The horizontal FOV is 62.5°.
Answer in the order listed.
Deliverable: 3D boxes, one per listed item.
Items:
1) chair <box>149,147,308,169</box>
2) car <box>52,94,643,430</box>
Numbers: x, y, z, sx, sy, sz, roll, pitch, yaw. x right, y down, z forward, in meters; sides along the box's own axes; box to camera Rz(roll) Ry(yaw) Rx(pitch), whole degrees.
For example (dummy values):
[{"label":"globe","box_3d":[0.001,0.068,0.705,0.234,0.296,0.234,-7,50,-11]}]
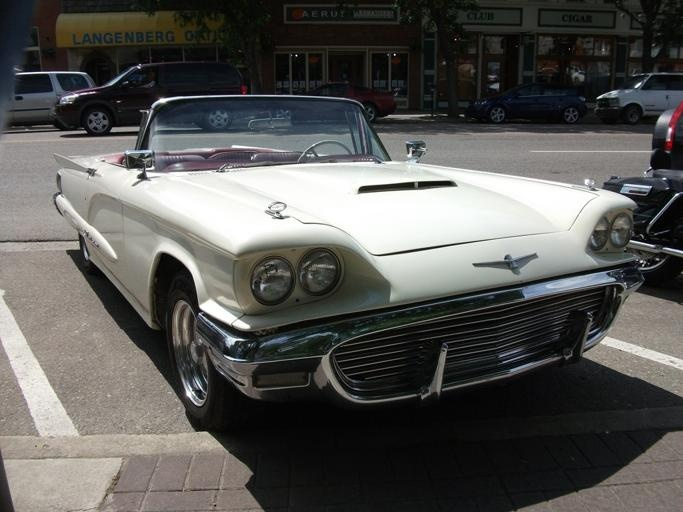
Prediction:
[{"label":"chair","box_3d":[-0.804,-0.692,3.940,1.041,0.179,0.215,-6,12,-25]},{"label":"car","box_3d":[-0.569,0.021,3.899,1.931,1.195,3.538,-5,13,-29]}]
